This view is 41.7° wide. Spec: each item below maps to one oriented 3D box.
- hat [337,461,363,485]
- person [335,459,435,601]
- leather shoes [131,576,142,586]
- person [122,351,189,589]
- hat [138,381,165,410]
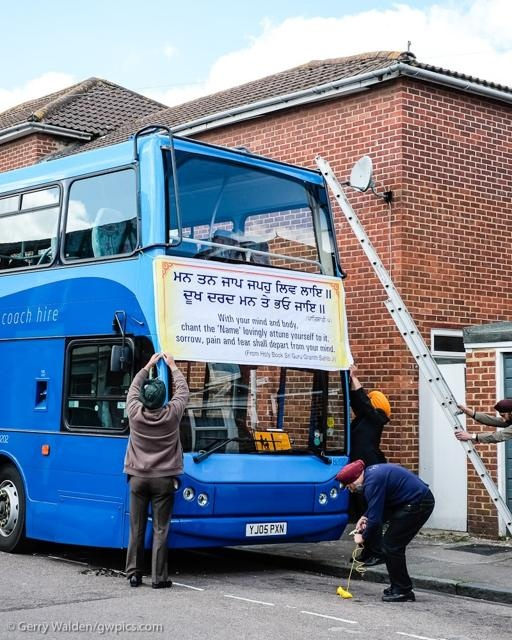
[{"bbox_3d":[0.736,1.200,5.229,0.199,0.194,0.196,0,-3,11],"label":"hat"},{"bbox_3d":[1.083,1.683,5.498,0.698,1.122,1.491,-1,-4,14],"label":"person"},{"bbox_3d":[-0.964,2.099,5.415,0.046,0.058,0.137,1,-1,3],"label":"leather shoes"},{"bbox_3d":[-0.826,1.222,5.508,0.435,1.901,0.458,-2,-4,38],"label":"person"},{"bbox_3d":[-0.828,0.575,5.405,0.178,0.245,0.211,4,-44,-6],"label":"hat"}]
